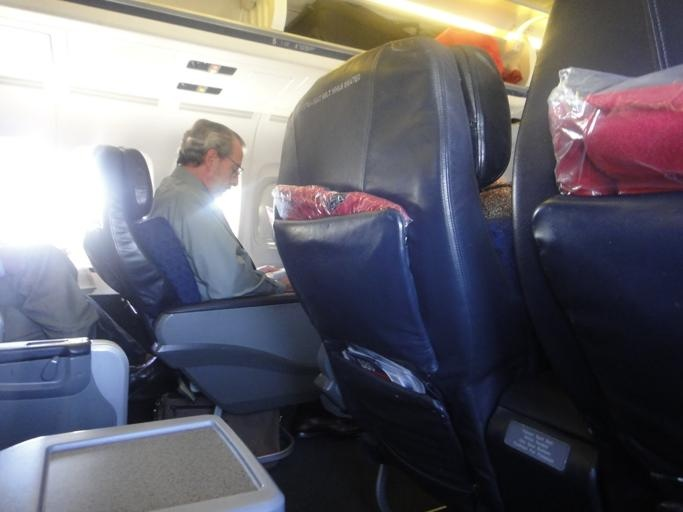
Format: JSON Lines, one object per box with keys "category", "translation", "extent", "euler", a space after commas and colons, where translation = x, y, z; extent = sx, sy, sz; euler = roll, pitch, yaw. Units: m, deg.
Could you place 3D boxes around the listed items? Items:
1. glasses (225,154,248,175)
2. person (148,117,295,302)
{"category": "glasses", "translation": [-0.621, -0.546, 3.069], "extent": [0.032, 0.113, 0.104], "euler": [-6, 10, -35]}
{"category": "person", "translation": [-0.667, -0.239, 2.893], "extent": [0.689, 0.953, 0.911], "euler": [4, 2, -30]}
